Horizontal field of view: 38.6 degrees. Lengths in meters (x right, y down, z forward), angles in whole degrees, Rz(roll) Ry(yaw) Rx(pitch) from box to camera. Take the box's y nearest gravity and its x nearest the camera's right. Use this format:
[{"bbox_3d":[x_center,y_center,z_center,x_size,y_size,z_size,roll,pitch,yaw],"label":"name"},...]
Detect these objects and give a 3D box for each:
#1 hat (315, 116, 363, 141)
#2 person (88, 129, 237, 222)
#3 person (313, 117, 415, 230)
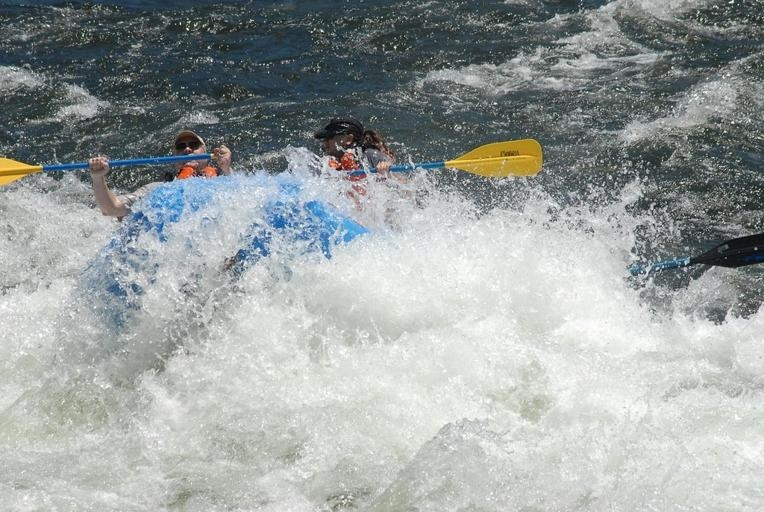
[{"bbox_3d":[-0.547,-1.676,14.076,0.499,0.339,0.171,-7,79,1],"label":"hat"},{"bbox_3d":[-2.808,-0.980,13.846,2.427,0.701,1.539,-8,11,41],"label":"person"},{"bbox_3d":[-0.244,-0.983,13.705,0.726,0.919,1.557,5,22,-28],"label":"person"}]
